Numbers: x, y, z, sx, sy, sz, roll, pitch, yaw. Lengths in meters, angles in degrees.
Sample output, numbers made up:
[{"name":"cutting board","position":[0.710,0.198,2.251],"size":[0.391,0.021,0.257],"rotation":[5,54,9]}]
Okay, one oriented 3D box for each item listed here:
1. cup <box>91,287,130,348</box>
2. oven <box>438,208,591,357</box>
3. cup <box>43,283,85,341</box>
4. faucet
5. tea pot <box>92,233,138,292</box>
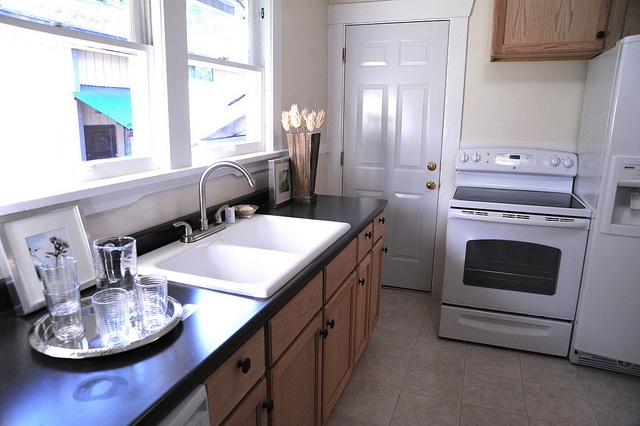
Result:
[{"name":"cup","position":[-0.673,0.335,1.354],"size":[0.103,0.172,0.090],"rotation":[-6,18,-17]},{"name":"oven","position":[1.421,0.413,3.261],"size":[0.986,1.016,0.880],"rotation":[7,9,28]},{"name":"cup","position":[-0.840,0.330,1.389],"size":[0.098,0.160,0.094],"rotation":[-1,17,0]},{"name":"faucet","position":[-0.483,-0.099,2.179],"size":[0.311,0.354,0.281],"rotation":[-1,17,-1]},{"name":"tea pot","position":[-0.747,0.186,1.552],"size":[0.164,0.171,0.160],"rotation":[0,17,0]}]
